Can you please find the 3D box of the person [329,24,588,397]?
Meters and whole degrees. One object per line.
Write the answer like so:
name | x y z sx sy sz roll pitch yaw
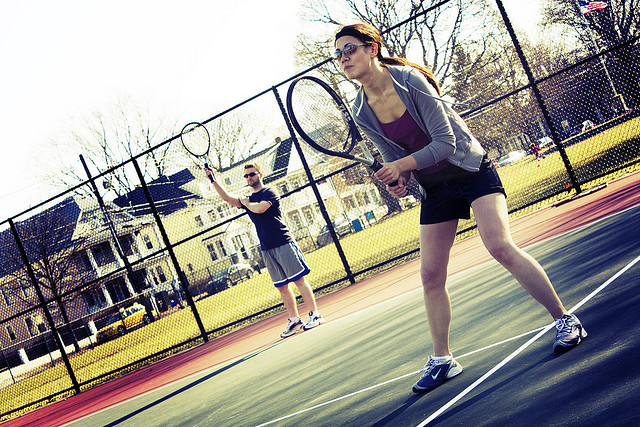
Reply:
person | 0.947 -0.205 4.243 1.219 3.206 0.407 -21 -1 -2

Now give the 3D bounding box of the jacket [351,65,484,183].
jacket | 0.798 -0.753 4.397 0.809 1.106 0.741 -12 33 40

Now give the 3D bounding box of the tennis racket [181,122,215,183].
tennis racket | -2.015 -1.168 8.750 0.357 0.933 0.522 -20 -1 -35

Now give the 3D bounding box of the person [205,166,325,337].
person | -0.602 0.492 7.510 0.575 2.561 0.469 -20 -1 -10
